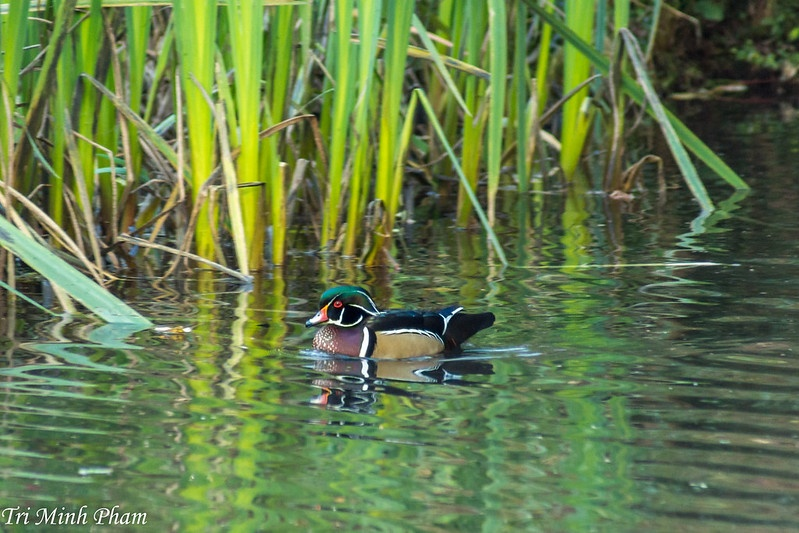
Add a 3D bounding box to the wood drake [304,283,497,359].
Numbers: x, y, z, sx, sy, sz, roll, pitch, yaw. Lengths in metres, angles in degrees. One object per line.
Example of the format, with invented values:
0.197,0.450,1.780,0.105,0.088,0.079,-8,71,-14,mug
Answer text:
-0.064,0.274,3.943,0.959,0.261,0.338,1,9,-36,wood drake
